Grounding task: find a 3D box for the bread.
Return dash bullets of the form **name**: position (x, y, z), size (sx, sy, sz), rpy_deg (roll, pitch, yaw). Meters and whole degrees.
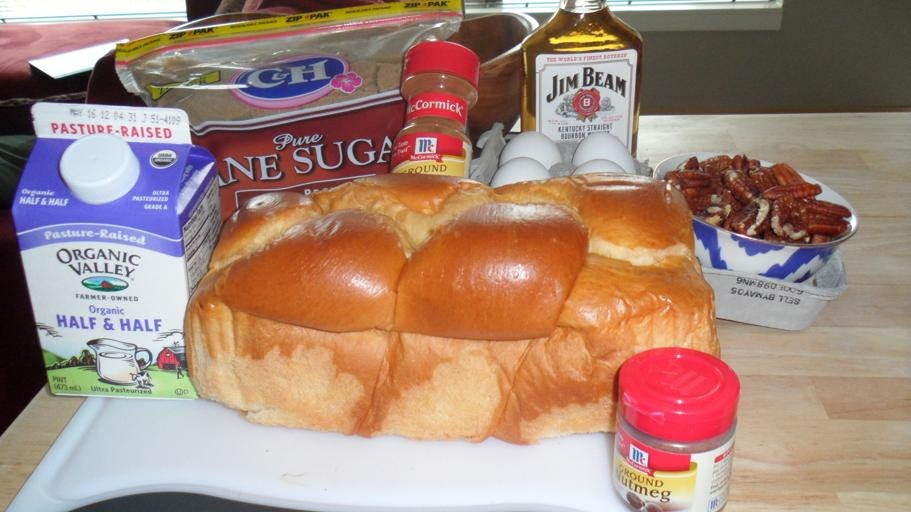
- **bread**: position (-0.002, 0.079, 0.897), size (0.620, 0.227, 0.310), rpy_deg (2, 36, 0)
